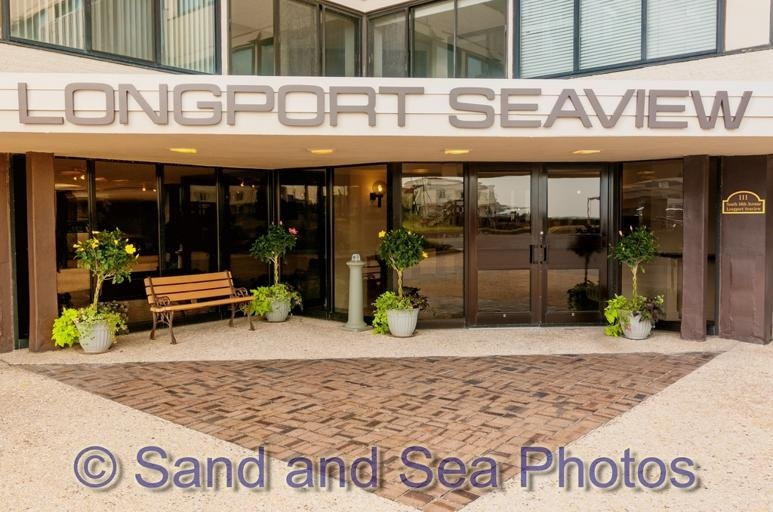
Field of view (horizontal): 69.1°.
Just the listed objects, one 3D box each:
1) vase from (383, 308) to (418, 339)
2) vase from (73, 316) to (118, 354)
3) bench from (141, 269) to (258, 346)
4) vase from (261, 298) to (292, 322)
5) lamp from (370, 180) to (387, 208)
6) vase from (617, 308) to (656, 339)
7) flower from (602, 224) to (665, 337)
[{"bbox_3d":[0.356,1.276,10.987,0.641,0.411,0.646,3,3,42],"label":"vase"},{"bbox_3d":[-5.029,1.375,9.834,0.701,0.454,0.671,-3,-3,31],"label":"vase"},{"bbox_3d":[-3.657,0.931,11.232,0.862,1.046,2.173,9,7,31],"label":"bench"},{"bbox_3d":[-2.370,1.187,12.278,0.581,0.355,0.514,-4,-5,26],"label":"vase"},{"bbox_3d":[-0.178,-1.283,11.674,0.397,0.553,0.119,8,14,37],"label":"lamp"},{"bbox_3d":[4.738,1.273,10.605,0.673,0.450,0.600,1,-5,-9],"label":"vase"},{"bbox_3d":[4.807,0.545,10.979,1.139,2.032,1.125,0,5,44],"label":"flower"}]
